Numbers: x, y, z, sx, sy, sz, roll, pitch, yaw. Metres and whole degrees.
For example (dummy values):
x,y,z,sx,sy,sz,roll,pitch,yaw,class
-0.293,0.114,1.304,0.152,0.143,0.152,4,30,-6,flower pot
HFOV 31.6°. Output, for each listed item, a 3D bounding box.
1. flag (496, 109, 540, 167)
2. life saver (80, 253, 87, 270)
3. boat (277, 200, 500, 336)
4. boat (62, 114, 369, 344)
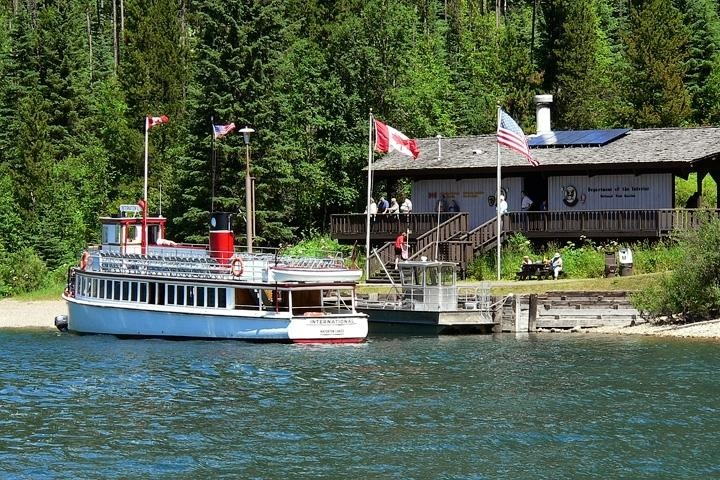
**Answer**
x,y,z,sx,sy,sz,roll,pitch,yaw,class
10.277,-6.832,82.490,2.036,4.400,2.283,2,-3,-26,flag
-17.087,1.263,79.037,0.274,0.972,0.718,16,-9,-26,life saver
3.121,2.955,81.375,4.133,7.703,12.526,1,-4,-44,boat
-9.211,-0.241,76.573,17.750,11.126,4.087,-2,1,19,boat
